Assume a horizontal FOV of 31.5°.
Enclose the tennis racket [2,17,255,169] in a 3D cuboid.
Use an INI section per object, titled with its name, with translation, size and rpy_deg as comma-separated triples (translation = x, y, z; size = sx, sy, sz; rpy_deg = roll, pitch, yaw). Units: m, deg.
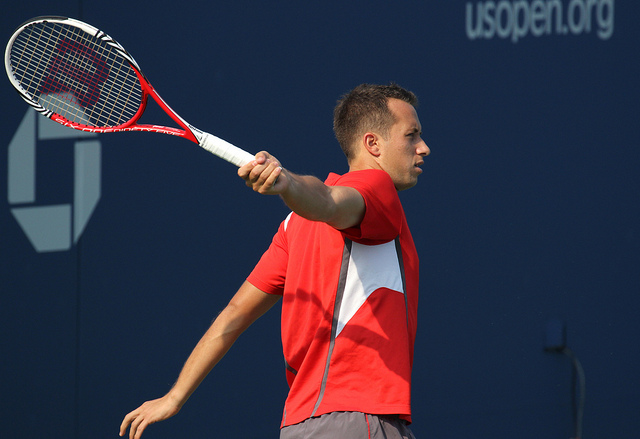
[tennis racket]
translation = -1.293, -0.918, 8.086
size = 2.105, 0.651, 0.111
rpy_deg = 34, -13, -20
